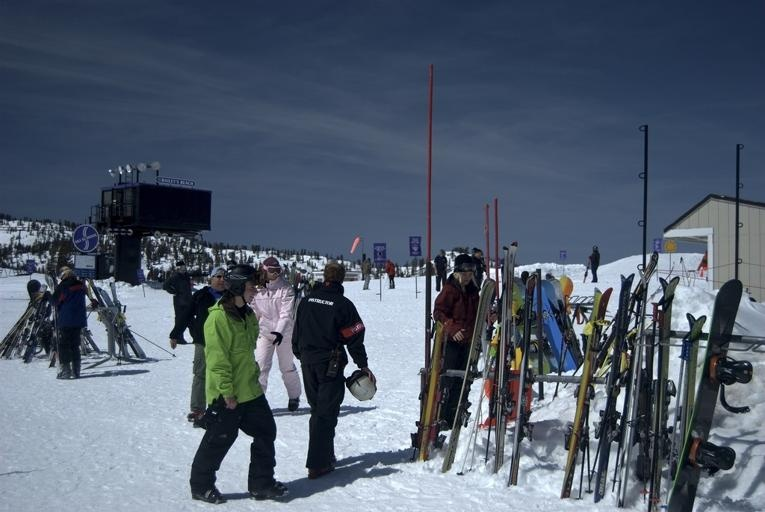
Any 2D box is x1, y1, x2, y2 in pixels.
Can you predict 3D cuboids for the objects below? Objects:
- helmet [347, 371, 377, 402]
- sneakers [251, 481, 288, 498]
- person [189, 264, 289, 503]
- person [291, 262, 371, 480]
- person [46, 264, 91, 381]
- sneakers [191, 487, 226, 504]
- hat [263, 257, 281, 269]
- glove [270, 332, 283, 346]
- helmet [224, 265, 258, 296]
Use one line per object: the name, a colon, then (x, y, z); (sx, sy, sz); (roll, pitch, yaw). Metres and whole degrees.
helmet: (-0.259, 1.734, 9.805); (0.333, 0.436, 0.434); (-28, 9, 3)
sneakers: (-1.473, 2.999, 9.069); (0.421, 0.217, 0.195); (-5, 1, -9)
person: (-1.895, 1.616, 8.923); (1.133, 2.939, 0.716); (-3, 9, -19)
person: (-0.700, 1.512, 9.728); (1.048, 2.847, 0.838); (-2, 9, -13)
person: (-6.184, 1.305, 13.845); (0.595, 2.179, 0.473); (-5, 10, -26)
sneakers: (-2.209, 3.001, 8.899); (0.401, 0.181, 0.179); (-2, -8, 14)
hat: (-1.840, 0.124, 11.582); (0.185, 0.218, 0.237); (2, -6, -40)
glove: (-1.723, 1.326, 11.382); (0.155, 0.245, 0.087); (-9, 26, 30)
helmet: (-1.822, 0.275, 8.981); (0.374, 0.375, 0.325); (-20, 12, -7)
